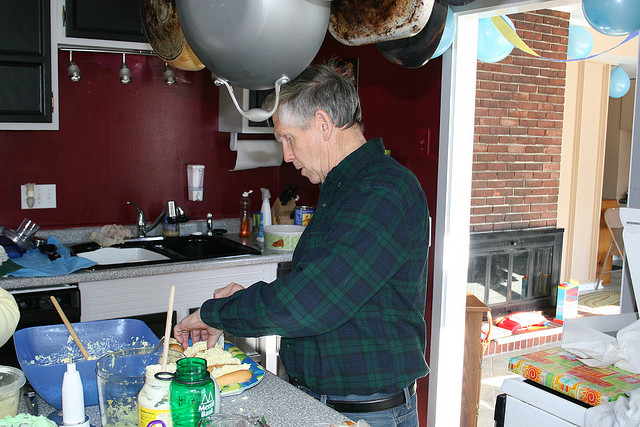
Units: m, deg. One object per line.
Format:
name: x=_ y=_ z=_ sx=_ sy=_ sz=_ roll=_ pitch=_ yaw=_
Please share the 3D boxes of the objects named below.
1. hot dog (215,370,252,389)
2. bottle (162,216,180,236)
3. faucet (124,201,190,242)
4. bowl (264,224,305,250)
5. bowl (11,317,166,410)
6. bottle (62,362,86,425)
hot dog: x=-0.259 y=0.491 z=1.510 sx=0.095 sy=0.033 sz=0.047 roll=-11 pitch=-17 yaw=-27
bottle: x=-1.026 y=0.089 z=3.456 sx=0.126 sy=0.139 sz=0.128 roll=0 pitch=0 yaw=-4
faucet: x=-1.140 y=0.064 z=3.460 sx=0.484 sy=0.268 sz=0.168 roll=-5 pitch=-9 yaw=1
bowl: x=-0.222 y=0.176 z=3.396 sx=0.325 sy=0.125 sz=0.281 roll=6 pitch=0 yaw=38
bowl: x=-0.834 y=0.519 z=1.673 sx=0.371 sy=0.143 sz=0.403 roll=-5 pitch=-41 yaw=-5
bottle: x=-0.613 y=0.441 z=1.248 sx=0.050 sy=0.153 sz=0.045 roll=-3 pitch=4 yaw=-28
